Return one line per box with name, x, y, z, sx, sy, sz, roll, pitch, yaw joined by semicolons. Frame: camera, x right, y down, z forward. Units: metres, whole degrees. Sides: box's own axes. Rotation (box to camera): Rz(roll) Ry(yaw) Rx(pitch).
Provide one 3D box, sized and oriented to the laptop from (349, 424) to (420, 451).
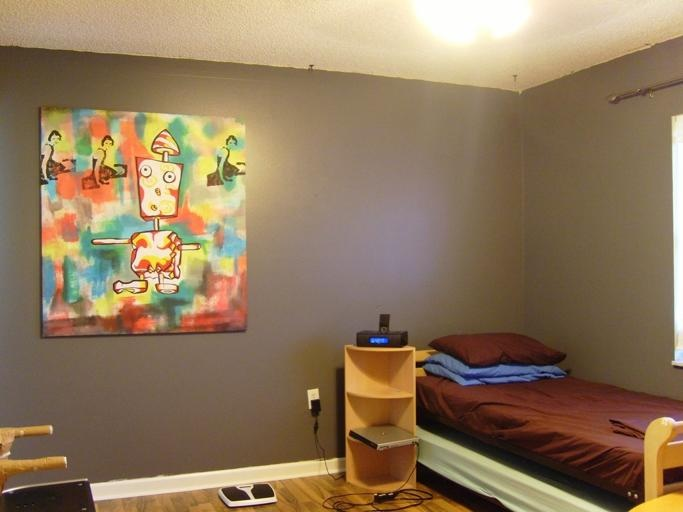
laptop;0.305;1.321;3.985;0.375;0.147;0.409;-4;5;-28
